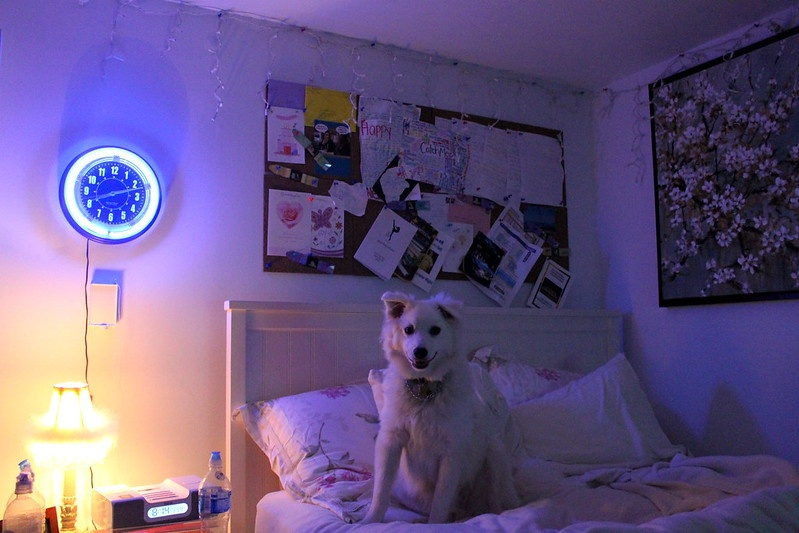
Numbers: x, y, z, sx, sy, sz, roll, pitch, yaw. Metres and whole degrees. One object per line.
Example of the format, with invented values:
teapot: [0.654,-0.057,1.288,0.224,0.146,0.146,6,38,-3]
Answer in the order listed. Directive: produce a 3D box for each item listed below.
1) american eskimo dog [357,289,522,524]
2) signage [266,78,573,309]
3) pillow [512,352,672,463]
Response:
american eskimo dog: [0.189,0.652,2.902,0.730,1.062,0.423,-2,-2,0]
signage: [0.058,-0.465,4.155,1.561,0.948,0.038,5,-7,-18]
pillow: [1.099,0.846,3.521,0.919,0.359,0.466,-1,-2,-33]
